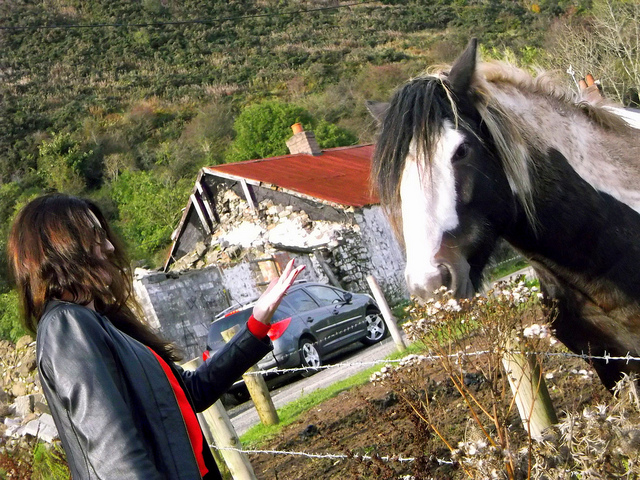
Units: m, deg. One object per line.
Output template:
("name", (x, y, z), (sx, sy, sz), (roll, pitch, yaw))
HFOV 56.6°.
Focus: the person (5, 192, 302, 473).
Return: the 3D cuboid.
("person", (-1.036, 0.518, 3.177), (0.829, 1.259, 1.155), (-11, 20, 31))
